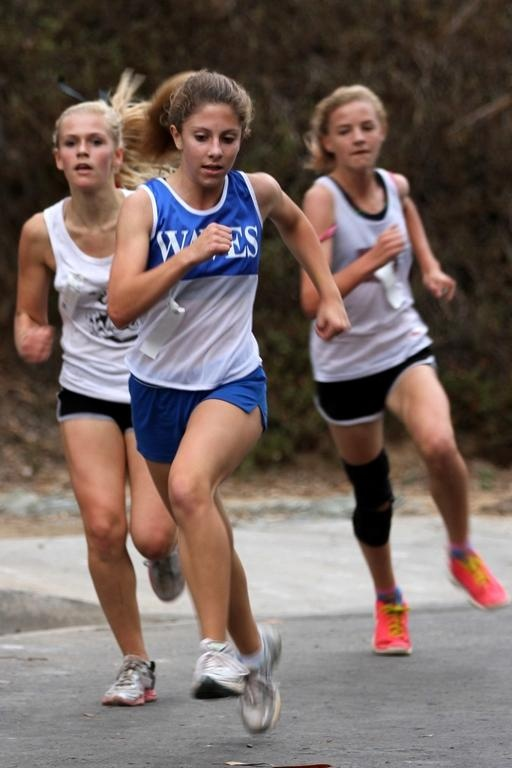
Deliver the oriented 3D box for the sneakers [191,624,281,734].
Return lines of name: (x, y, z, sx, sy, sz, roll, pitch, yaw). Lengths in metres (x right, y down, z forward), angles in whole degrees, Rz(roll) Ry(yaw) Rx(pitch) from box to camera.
sneakers: (0.027, 0.619, 1.837, 0.146, 0.177, 0.405, -29, -15, -1)

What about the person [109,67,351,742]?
person: (-0.081, -0.085, 2.045, 0.593, 1.410, 0.925, 2, 2, 5)

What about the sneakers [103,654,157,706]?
sneakers: (-0.376, 0.892, 2.587, 0.123, 0.130, 0.282, -2, -11, 10)
